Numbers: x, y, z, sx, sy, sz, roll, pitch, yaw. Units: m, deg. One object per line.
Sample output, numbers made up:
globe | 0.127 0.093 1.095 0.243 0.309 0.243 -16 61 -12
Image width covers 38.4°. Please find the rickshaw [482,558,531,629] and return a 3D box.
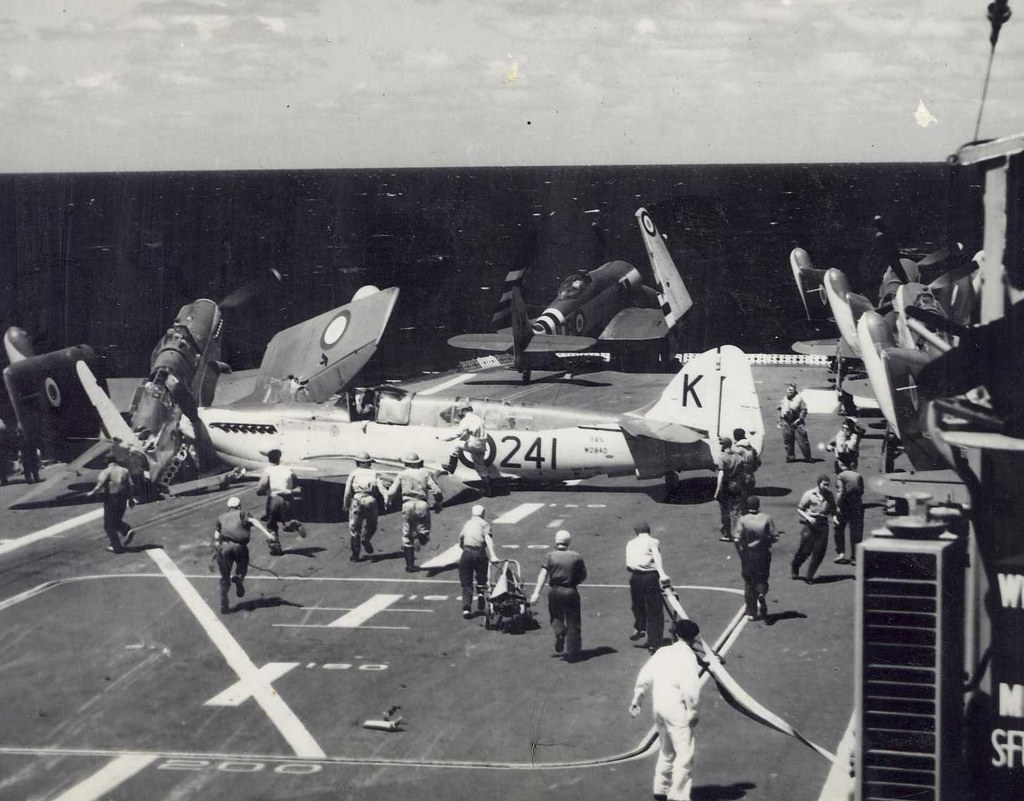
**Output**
rickshaw | -0.228 3.128 25.484 0.639 0.645 1.138 9 11 -3

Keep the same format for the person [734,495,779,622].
person | 4.137 2.609 25.377 0.697 2.136 1.014 -2 14 9

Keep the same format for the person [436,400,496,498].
person | -1.033 1.194 33.318 1.083 2.177 1.244 -2 14 9

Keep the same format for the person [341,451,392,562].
person | -3.007 2.166 29.544 0.804 2.023 0.931 -6 14 -8
